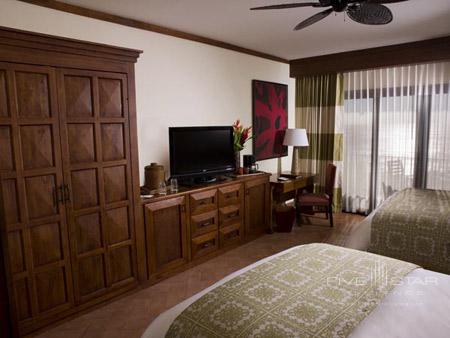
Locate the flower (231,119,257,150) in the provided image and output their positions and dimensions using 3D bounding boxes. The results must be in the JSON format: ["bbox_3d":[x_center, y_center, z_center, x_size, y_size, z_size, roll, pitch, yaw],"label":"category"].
[{"bbox_3d":[0.297,-0.522,4.960,0.452,0.513,0.465,0,5,-34],"label":"flower"}]

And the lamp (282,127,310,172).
[{"bbox_3d":[1.276,-0.361,5.752,0.415,0.757,0.554,2,12,10],"label":"lamp"}]

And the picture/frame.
[{"bbox_3d":[0.778,-0.888,5.625,0.055,1.681,1.410,3,7,33],"label":"picture/frame"}]

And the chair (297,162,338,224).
[{"bbox_3d":[1.587,0.412,5.452,0.620,1.053,1.048,4,13,18],"label":"chair"}]

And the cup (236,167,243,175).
[{"bbox_3d":[0.223,0.032,4.724,0.100,0.105,0.102,0,1,0],"label":"cup"}]

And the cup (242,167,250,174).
[{"bbox_3d":[0.318,0.025,4.781,0.088,0.079,0.088,0,8,0],"label":"cup"}]
